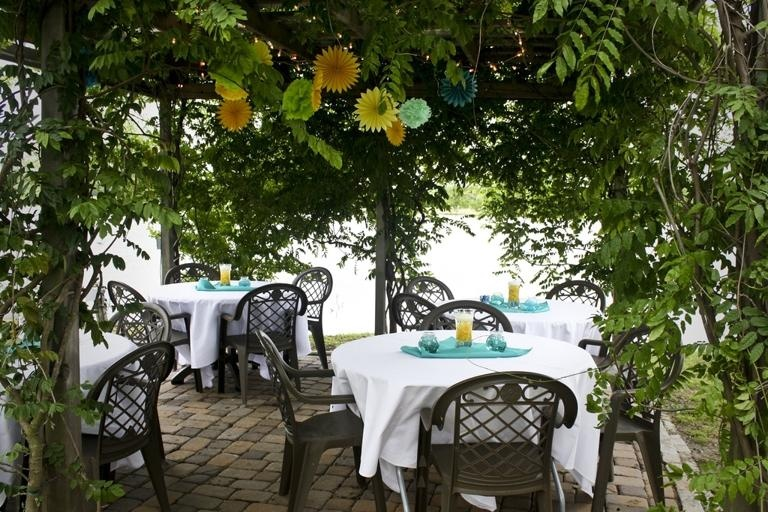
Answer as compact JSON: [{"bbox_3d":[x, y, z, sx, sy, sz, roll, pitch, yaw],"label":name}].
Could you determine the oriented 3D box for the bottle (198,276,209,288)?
[{"bbox_3d":[-1.554,0.227,5.375,0.075,0.101,0.101,3,6,-10],"label":"bottle"}]

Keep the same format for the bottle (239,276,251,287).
[{"bbox_3d":[-1.218,0.222,5.467,0.092,0.100,0.091,-1,1,-45],"label":"bottle"}]

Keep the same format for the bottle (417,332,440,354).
[{"bbox_3d":[0.243,0.465,3.331,0.085,0.095,0.093,1,-3,-3],"label":"bottle"}]

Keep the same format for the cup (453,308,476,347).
[{"bbox_3d":[0.435,0.389,3.492,0.133,0.263,0.146,2,1,0],"label":"cup"}]
